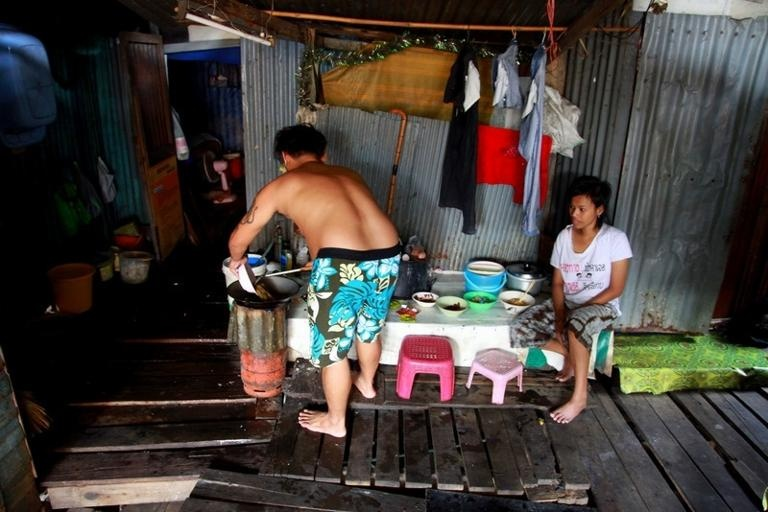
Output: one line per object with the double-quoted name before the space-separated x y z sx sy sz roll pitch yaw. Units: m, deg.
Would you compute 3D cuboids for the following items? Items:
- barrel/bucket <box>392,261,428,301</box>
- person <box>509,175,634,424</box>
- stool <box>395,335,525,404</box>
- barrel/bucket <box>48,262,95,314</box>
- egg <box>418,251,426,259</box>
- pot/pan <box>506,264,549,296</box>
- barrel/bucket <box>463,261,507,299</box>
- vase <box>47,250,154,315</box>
"barrel/bucket" 0.347 0.259 6.015 0.400 0.488 0.720 0 -1 12
"person" 1.922 0.351 5.147 0.904 2.299 0.927 17 26 33
"stool" 0.700 1.108 5.114 1.272 0.393 0.686 1 32 6
"barrel/bucket" -3.745 0.364 6.237 0.626 0.523 0.592 3 15 -1
"egg" 0.457 -0.018 5.900 0.069 0.037 0.070 7 16 30
"pot/pan" 1.667 0.274 5.980 0.431 0.274 0.412 -1 21 -4
"barrel/bucket" 1.223 0.253 5.967 0.433 0.301 0.459 -2 17 1
"vase" -3.674 0.324 6.509 0.517 0.361 1.128 14 18 29
